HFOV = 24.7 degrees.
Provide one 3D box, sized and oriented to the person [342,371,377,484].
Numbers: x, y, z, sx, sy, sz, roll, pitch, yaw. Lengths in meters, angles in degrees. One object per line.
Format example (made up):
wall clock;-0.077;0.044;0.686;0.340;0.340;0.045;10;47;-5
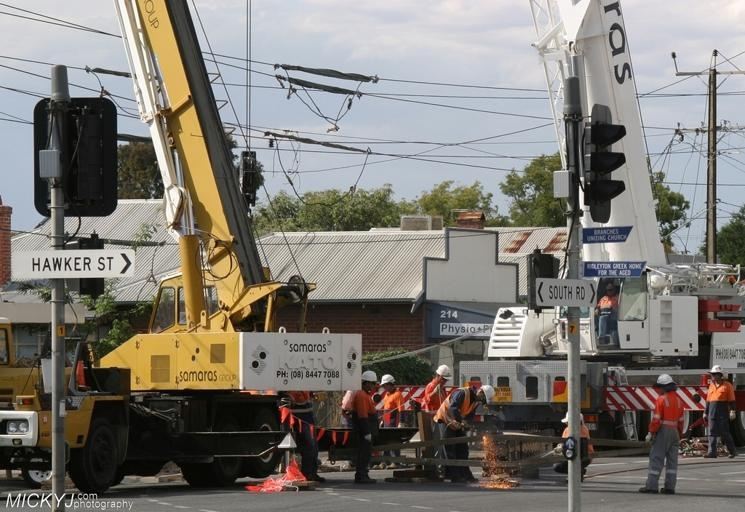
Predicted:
person;-0.117;3.491;35.292;0.639;2.264;0.812;-2;1;0

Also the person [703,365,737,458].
person;8.017;3.600;39.464;0.740;2.065;0.600;-4;-9;29

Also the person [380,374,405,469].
person;0.376;3.861;40.246;0.605;2.048;0.749;9;-11;-31

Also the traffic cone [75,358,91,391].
traffic cone;-5.544;2.244;32.731;0.191;0.599;0.414;-2;-3;9

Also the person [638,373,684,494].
person;5.701;3.477;33.682;0.758;2.273;1.200;-3;-3;16

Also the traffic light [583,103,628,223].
traffic light;4.038;-1.668;29.802;0.731;2.072;0.597;-2;-3;8

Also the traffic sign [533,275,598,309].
traffic sign;3.318;0.607;29.368;1.229;0.503;0.261;1;-4;-35
